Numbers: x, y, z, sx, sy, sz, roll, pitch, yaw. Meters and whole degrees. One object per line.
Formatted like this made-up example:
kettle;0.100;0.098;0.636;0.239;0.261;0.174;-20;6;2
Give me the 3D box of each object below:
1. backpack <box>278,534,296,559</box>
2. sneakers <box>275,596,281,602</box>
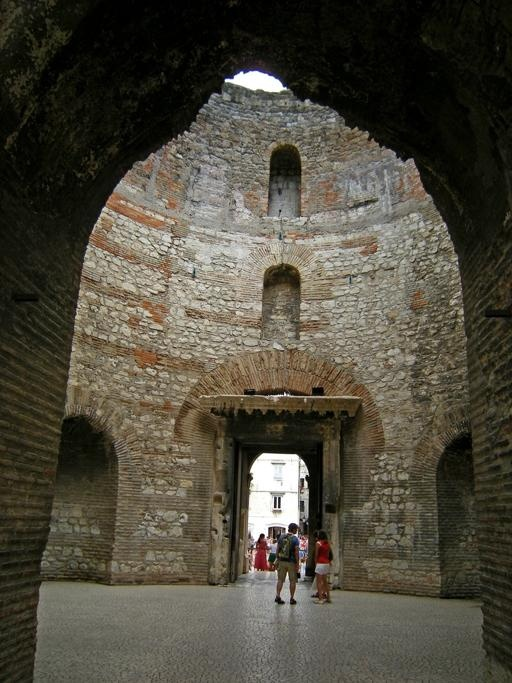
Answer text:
backpack;0.419;2.875;7.311;0.247;0.351;0.277;2;-19;6
sneakers;0.299;3.551;7.230;0.091;0.089;0.181;3;-19;4
